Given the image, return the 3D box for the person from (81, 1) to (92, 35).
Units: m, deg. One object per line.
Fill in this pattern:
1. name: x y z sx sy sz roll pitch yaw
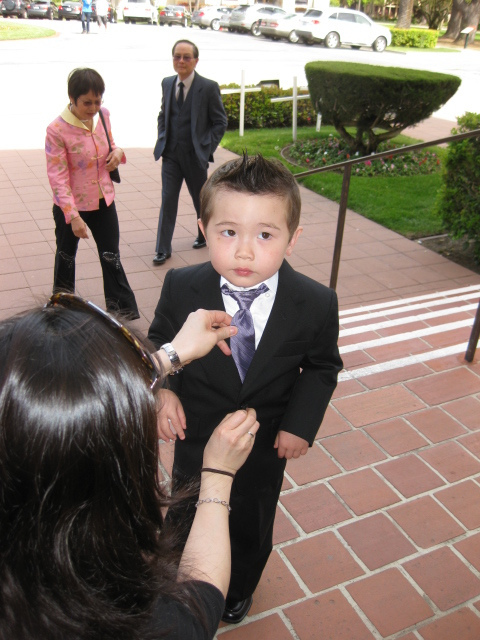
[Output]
1. person: -7.488 -14.643 23.500 0.527 1.460 1.034 -3 23 -15

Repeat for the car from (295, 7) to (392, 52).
1. car: 5.293 -14.983 25.148 4.550 2.078 1.792 -4 23 -18

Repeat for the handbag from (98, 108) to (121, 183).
1. handbag: -1.012 -1.324 3.729 0.127 0.524 0.226 -2 23 -14

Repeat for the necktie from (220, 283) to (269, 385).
1. necktie: 0.007 0.031 1.460 0.146 0.278 0.166 3 22 -2

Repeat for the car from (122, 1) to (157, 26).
1. car: -6.679 -19.975 31.754 2.223 1.607 1.846 6 22 6

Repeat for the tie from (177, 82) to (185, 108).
1. tie: -0.616 -2.302 4.974 0.052 0.224 0.049 10 24 16

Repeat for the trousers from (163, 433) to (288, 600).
1. trousers: -0.063 0.695 1.568 0.366 0.701 0.304 6 23 5

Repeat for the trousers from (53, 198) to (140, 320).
1. trousers: -1.134 -0.473 3.760 0.636 0.892 0.485 -5 24 -19

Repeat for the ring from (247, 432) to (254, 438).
1. ring: 0.023 0.251 1.076 0.016 0.014 0.010 15 5 13

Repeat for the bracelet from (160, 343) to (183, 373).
1. bracelet: -0.174 0.096 1.247 0.045 0.073 0.075 -26 1 -30

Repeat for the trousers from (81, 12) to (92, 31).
1. trousers: -7.570 -14.478 23.636 0.402 0.713 1.145 -3 22 -15

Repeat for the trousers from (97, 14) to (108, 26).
1. trousers: -7.231 -15.574 25.276 0.544 0.657 0.248 3 16 6

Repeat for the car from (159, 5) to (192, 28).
1. car: -4.309 -20.234 32.325 1.422 0.970 2.937 3 46 -3

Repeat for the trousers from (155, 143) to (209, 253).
1. trousers: -0.647 -1.269 5.114 0.655 1.103 0.471 -9 25 -27
